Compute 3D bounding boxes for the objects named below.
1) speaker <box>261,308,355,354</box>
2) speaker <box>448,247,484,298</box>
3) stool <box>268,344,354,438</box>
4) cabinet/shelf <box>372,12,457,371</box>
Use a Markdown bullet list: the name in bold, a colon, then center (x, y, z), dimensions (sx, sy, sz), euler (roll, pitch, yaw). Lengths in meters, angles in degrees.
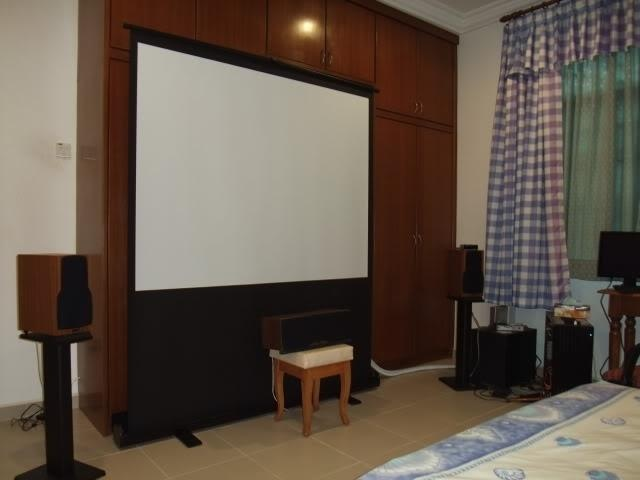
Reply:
- **speaker**: center (-0.075, 0.678, 4.002), dimensions (0.703, 0.281, 0.278), euler (-2, -1, -36)
- **speaker**: center (1.351, 0.310, 4.941), dimensions (0.316, 0.447, 0.261), euler (3, 9, 15)
- **stool**: center (-0.030, 1.125, 4.215), dimensions (0.568, 0.785, 0.583), euler (-1, -1, -37)
- **cabinet/shelf**: center (0.943, -0.478, 5.293), dimensions (1.224, 3.366, 0.483), euler (-5, 10, -34)
